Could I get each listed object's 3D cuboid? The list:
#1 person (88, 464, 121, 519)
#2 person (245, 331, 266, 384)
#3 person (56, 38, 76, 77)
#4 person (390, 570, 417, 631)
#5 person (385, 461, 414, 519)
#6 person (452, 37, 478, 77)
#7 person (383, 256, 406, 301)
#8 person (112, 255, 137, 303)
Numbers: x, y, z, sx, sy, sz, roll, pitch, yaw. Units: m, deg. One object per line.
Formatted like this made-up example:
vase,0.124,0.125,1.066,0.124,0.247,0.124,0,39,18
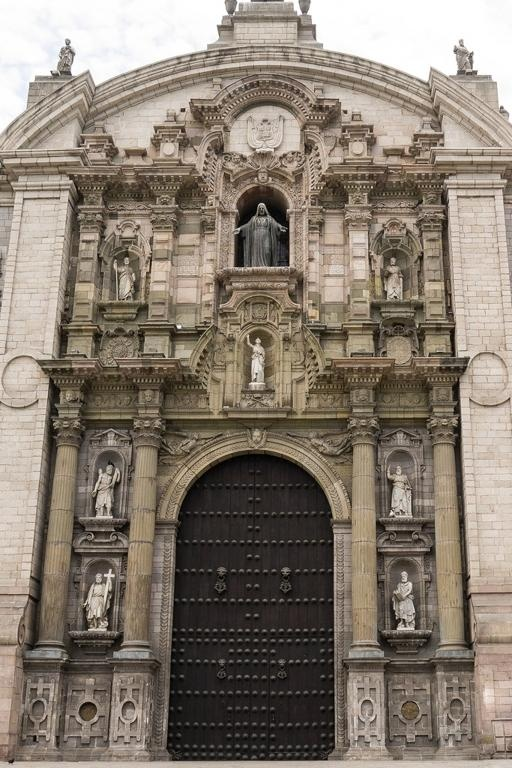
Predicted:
person,-3.508,2.507,20.798,0.641,1.313,0.296,-2,-25,5
person,-0.001,-0.572,22.056,0.500,1.496,0.512,1,-25,0
person,-5.428,-9.185,25.375,0.400,1.274,0.317,9,-26,-16
person,3.236,4.726,19.380,0.501,1.280,0.443,-1,-25,4
person,3.311,2.459,20.430,0.552,1.313,0.371,-3,-26,9
person,5.774,-9.057,24.638,0.499,1.357,0.731,-7,-26,16
person,3.522,-2.676,22.740,0.511,1.610,0.565,-4,-26,10
person,-3.439,-2.744,23.223,0.625,1.618,0.457,-10,-28,22
